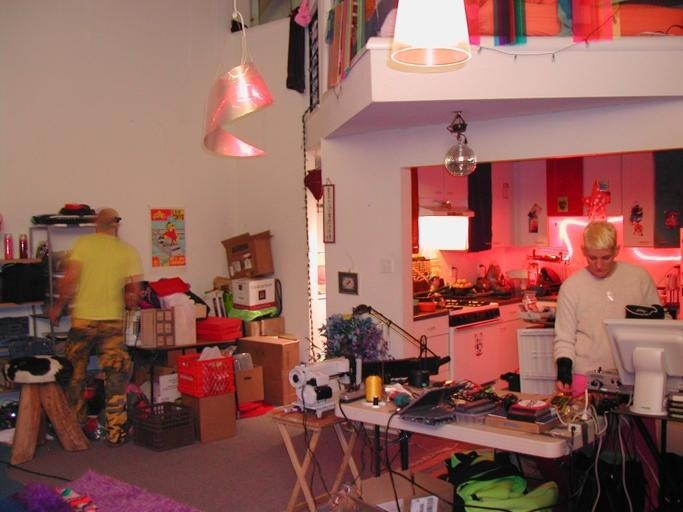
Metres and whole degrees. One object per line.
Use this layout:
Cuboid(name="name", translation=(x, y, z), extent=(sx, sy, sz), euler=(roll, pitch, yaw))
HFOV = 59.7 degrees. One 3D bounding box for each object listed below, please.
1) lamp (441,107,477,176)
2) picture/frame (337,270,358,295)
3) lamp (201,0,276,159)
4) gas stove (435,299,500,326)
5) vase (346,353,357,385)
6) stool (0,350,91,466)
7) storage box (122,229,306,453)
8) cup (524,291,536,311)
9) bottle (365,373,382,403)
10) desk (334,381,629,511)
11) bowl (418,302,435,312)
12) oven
Cuboid(name="lamp", translation=(1.053, -0.995, 5.253), extent=(0.264, 0.548, 0.621), euler=(0, 7, 13))
Cuboid(name="picture/frame", translation=(0.070, 0.265, 6.200), extent=(0.239, 0.221, 0.026), euler=(8, 15, 41))
Cuboid(name="lamp", translation=(-0.654, -0.996, 3.648), extent=(0.475, 0.738, 0.351), euler=(-6, 8, -32))
Cuboid(name="gas stove", translation=(1.523, 0.672, 6.937), extent=(0.207, 0.264, 0.991), euler=(5, 10, 42))
Cuboid(name="vase", translation=(0.080, 0.831, 4.382), extent=(0.064, 0.196, 0.110), euler=(-2, 7, -6))
Cuboid(name="stool", translation=(-2.775, 1.384, 5.602), extent=(0.651, 0.964, 0.480), euler=(-5, 8, -26))
Cuboid(name="storage box", translation=(-1.367, 1.293, 6.167), extent=(1.442, 0.512, 2.092), euler=(-5, 5, -18))
Cuboid(name="cup", translation=(2.193, 0.526, 6.959), extent=(0.135, 0.212, 0.134), euler=(-2, 6, 0))
Cuboid(name="bottle", translation=(0.188, 0.877, 4.034), extent=(0.142, 0.233, 0.159), euler=(-1, 3, -7))
Cuboid(name="desk", translation=(0.858, 1.279, 3.853), extent=(1.503, 0.735, 0.739), euler=(2, 8, 25))
Cuboid(name="bowl", translation=(0.923, 0.550, 6.456), extent=(0.188, 0.107, 0.160), euler=(-1, 7, 7))
Cuboid(name="oven", translation=(1.493, 1.100, 7.107), extent=(0.732, 0.707, 0.435), euler=(-5, 3, -32))
